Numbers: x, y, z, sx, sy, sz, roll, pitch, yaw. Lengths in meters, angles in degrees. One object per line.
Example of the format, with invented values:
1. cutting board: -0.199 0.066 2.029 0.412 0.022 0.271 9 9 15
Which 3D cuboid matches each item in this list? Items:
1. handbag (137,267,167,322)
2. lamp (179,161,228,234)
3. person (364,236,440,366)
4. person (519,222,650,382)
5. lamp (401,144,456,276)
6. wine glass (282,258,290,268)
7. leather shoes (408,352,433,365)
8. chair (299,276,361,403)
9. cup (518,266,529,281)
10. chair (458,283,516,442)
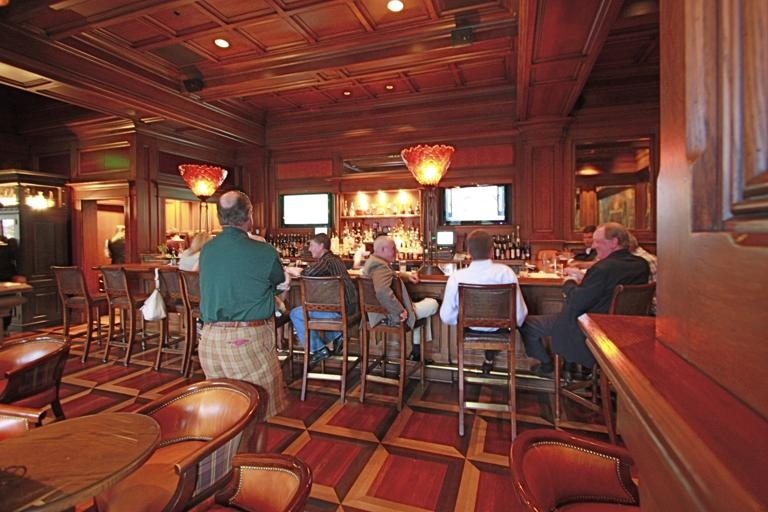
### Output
1. handbag: -2.421 0.401 5.305 0.225 0.551 0.382 -5 4 -25
2. lamp: -2.335 -0.682 6.614 0.713 0.779 0.655 3 -14 -18
3. person: 0.129 0.413 4.459 0.372 1.184 0.773 -2 4 30
4. person: 1.608 0.405 4.194 0.731 1.334 0.899 -2 12 -29
5. lamp: 0.473 -0.455 5.570 0.737 1.327 0.679 -2 -3 -18
6. wine glass: -1.163 0.083 6.011 0.086 0.103 0.041 3 -3 7
7. leather shoes: 0.320 0.968 4.786 0.304 0.112 0.095 -1 -3 1
8. chair: -0.505 0.692 4.582 0.566 1.080 0.752 -4 4 -4
9. cup: 1.334 0.171 4.875 0.133 0.130 0.124 0 2 0
10. chair: 0.828 0.763 4.066 0.505 1.153 0.848 -3 4 13
